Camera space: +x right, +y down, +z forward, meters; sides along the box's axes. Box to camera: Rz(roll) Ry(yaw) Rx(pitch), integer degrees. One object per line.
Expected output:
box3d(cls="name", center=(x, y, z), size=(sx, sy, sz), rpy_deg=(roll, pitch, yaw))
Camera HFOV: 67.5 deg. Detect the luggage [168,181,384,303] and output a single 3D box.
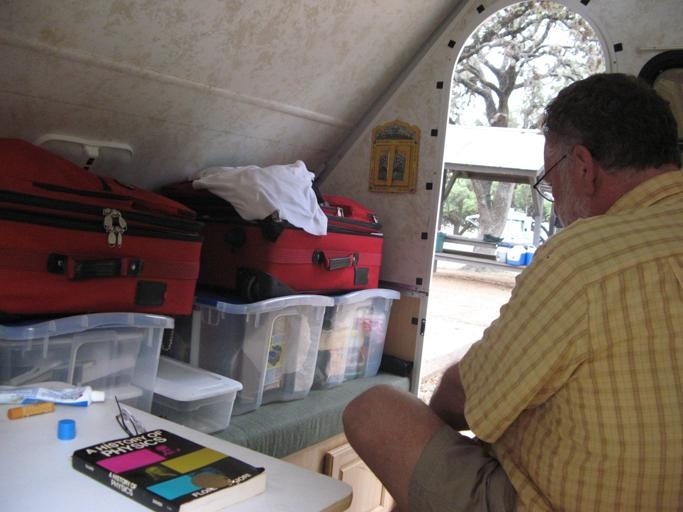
box3d(cls="luggage", center=(-0.293, -0.058, 2.411), size=(0.817, 0.404, 0.838), rpy_deg=(9, 5, 33))
